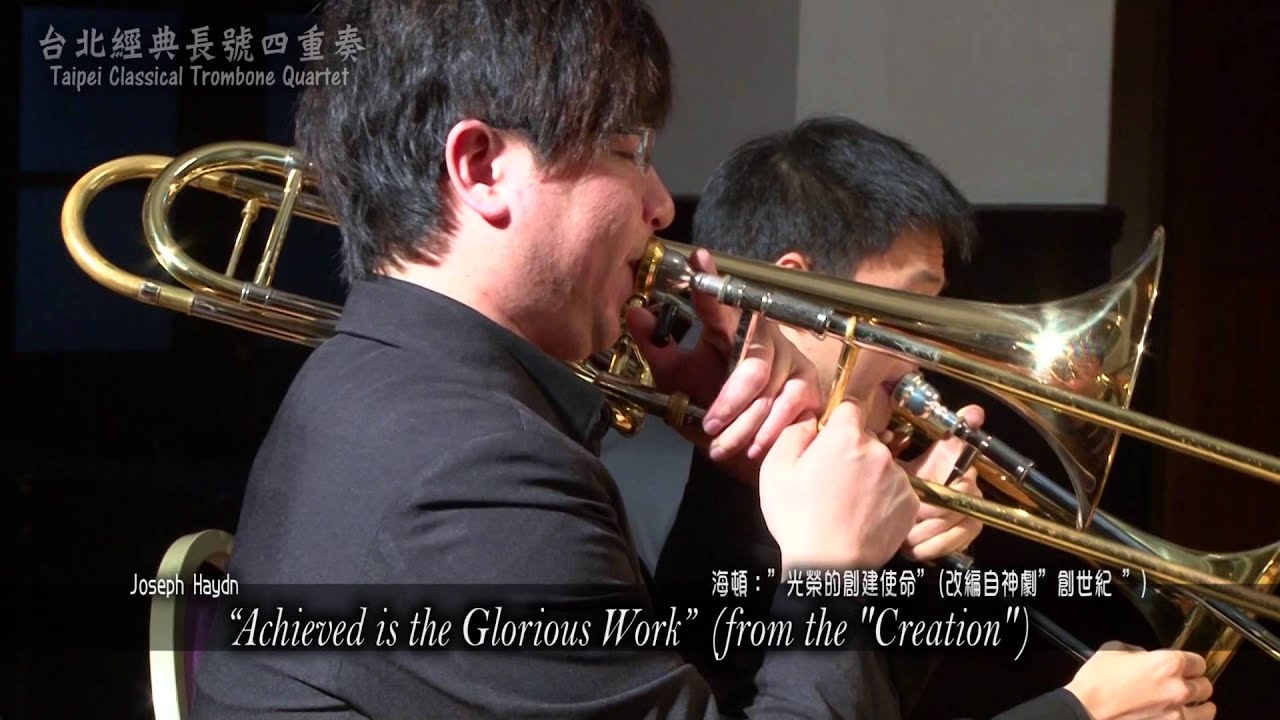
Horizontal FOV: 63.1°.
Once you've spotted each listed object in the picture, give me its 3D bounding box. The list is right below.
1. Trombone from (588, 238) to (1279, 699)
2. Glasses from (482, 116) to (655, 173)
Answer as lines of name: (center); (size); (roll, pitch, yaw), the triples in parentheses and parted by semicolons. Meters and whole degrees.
Trombone: (0.577, 0.254, 2.233); (1.477, 0.511, 0.579); (25, 16, 14)
Glasses: (-0.138, -0.409, 1.954); (0.322, 0.142, 0.094); (-1, 33, -7)
